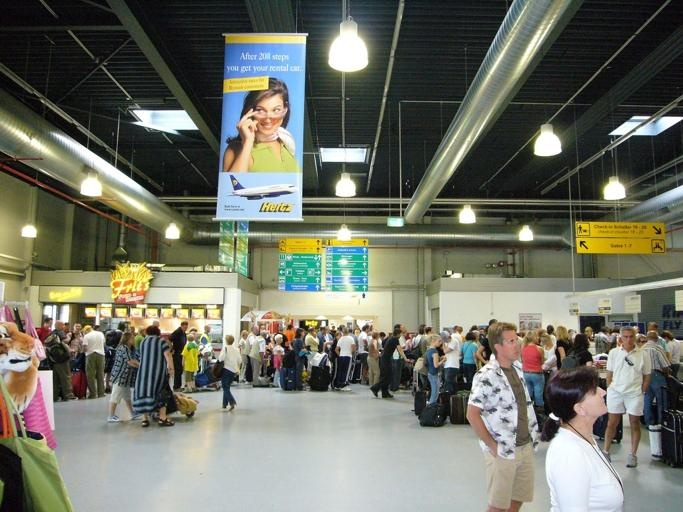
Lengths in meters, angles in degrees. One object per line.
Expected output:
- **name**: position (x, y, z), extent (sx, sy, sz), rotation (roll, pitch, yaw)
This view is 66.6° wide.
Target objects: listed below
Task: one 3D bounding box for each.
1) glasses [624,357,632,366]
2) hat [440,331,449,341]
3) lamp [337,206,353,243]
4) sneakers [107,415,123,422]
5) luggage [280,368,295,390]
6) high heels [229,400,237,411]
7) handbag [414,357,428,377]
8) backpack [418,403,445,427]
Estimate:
- **glasses**: position (3.603, 1.322, 6.485), extent (0.080, 0.105, 0.023), rotation (-2, -8, 25)
- **hat**: position (2.057, 1.603, 10.288), extent (0.130, 0.143, 0.212), rotation (8, -28, 30)
- **lamp**: position (0.120, -1.069, 17.407), extent (0.398, 1.472, 0.415), rotation (-10, -49, 9)
- **sneakers**: position (-3.860, 2.790, 8.885), extent (0.223, 0.100, 0.103), rotation (3, -2, -9)
- **luggage**: position (-1.395, 3.245, 13.845), extent (0.458, 0.889, 0.572), rotation (0, -4, -5)
- **high heels**: position (-2.076, 2.949, 10.127), extent (0.076, 0.101, 0.232), rotation (31, -62, -32)
- **handbag**: position (1.552, 2.180, 10.190), extent (0.319, 0.446, 0.432), rotation (2, -6, 3)
- **backpack**: position (1.529, 2.711, 8.748), extent (0.351, 0.353, 0.366), rotation (-6, -8, 25)
